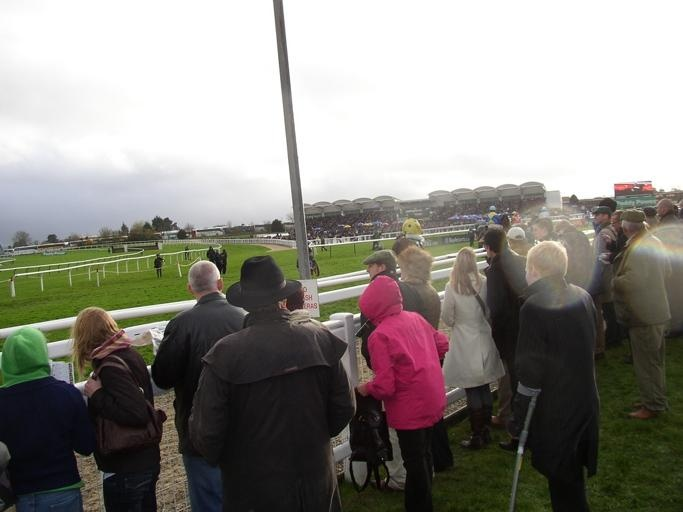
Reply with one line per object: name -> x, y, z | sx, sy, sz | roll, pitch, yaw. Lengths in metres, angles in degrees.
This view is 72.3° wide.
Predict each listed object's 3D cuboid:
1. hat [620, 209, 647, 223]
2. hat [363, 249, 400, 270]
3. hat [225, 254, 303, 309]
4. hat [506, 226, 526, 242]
hat -> 2.979, -0.452, 4.782 | 0.153, 0.137, 0.217 | 11, 9, 1
hat -> 0.307, 0.042, 3.737 | 0.253, 0.192, 0.314 | -5, 4, 3
hat -> -0.436, 0.139, 2.590 | 0.281, 0.160, 0.323 | 10, 28, 42
hat -> 1.981, -0.253, 5.287 | 0.156, 0.139, 0.236 | 6, 11, 16
